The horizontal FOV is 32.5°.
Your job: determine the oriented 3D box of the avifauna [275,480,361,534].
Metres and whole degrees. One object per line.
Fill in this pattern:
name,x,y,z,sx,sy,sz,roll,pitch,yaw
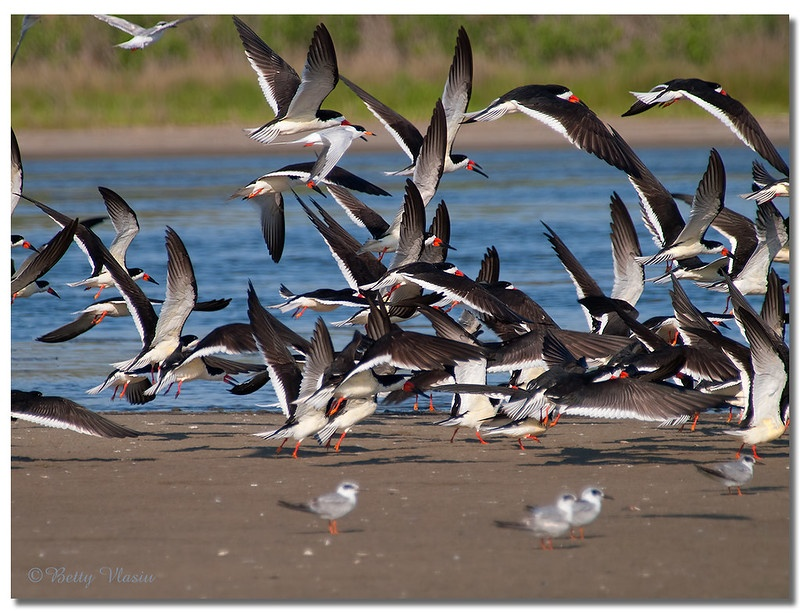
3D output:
avifauna,-0.809,2.218,15.207,0.740,0.585,0.913,-4,4,-2

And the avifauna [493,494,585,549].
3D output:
avifauna,1.815,2.277,14.998,1.315,0.570,0.454,-5,-6,22

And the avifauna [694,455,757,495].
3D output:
avifauna,3.835,1.985,16.131,0.743,0.331,0.230,22,-23,-21
